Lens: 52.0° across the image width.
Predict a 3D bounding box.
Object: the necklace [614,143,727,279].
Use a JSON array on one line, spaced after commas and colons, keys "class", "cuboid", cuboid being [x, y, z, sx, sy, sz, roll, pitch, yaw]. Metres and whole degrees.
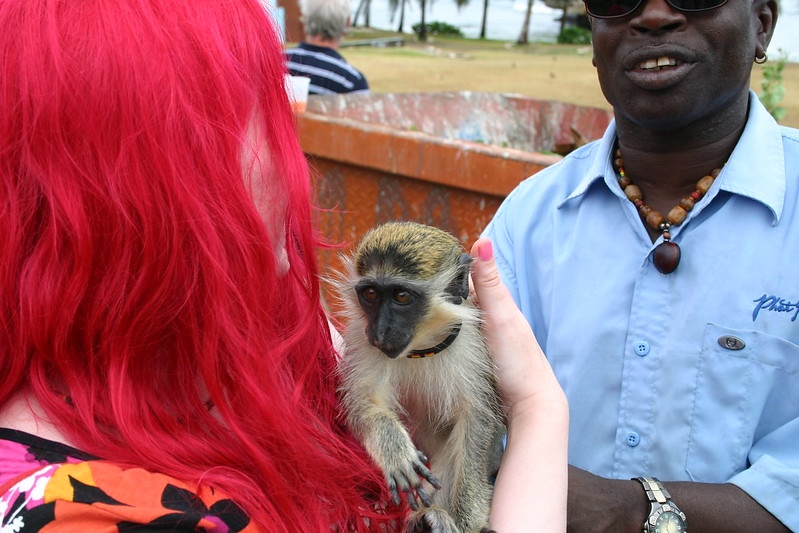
[{"class": "necklace", "cuboid": [0.890, -0.169, 2.654, 0.392, 0.519, 0.090, 2, 4, 18]}]
